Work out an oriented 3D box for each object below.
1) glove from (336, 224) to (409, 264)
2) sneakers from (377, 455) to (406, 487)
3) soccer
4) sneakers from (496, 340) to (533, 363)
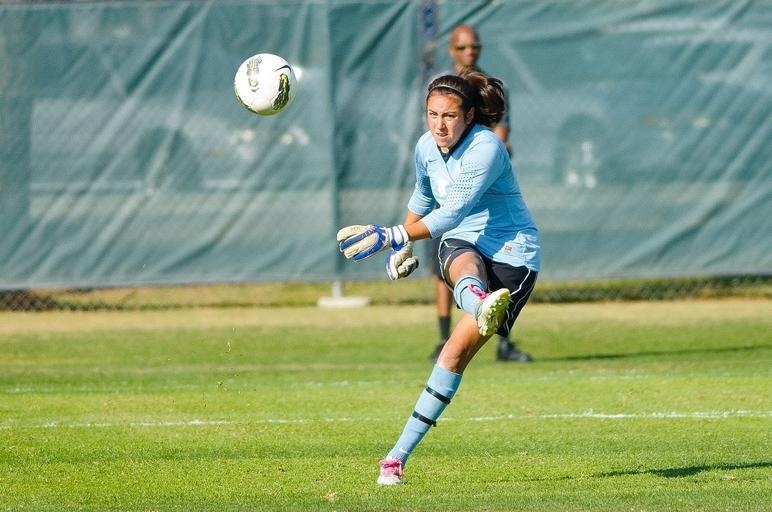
[{"bbox_3d":[-0.083,-0.085,11.726,0.406,0.261,0.179,-11,-16,1],"label":"glove"},{"bbox_3d":[0.038,1.557,11.604,0.214,0.179,0.171,-3,15,-11],"label":"sneakers"},{"bbox_3d":[-1.023,-1.425,13.425,0.535,0.549,0.526,12,33,15],"label":"soccer"},{"bbox_3d":[1.220,0.880,14.536,0.426,0.256,0.141,-2,0,20],"label":"sneakers"}]
